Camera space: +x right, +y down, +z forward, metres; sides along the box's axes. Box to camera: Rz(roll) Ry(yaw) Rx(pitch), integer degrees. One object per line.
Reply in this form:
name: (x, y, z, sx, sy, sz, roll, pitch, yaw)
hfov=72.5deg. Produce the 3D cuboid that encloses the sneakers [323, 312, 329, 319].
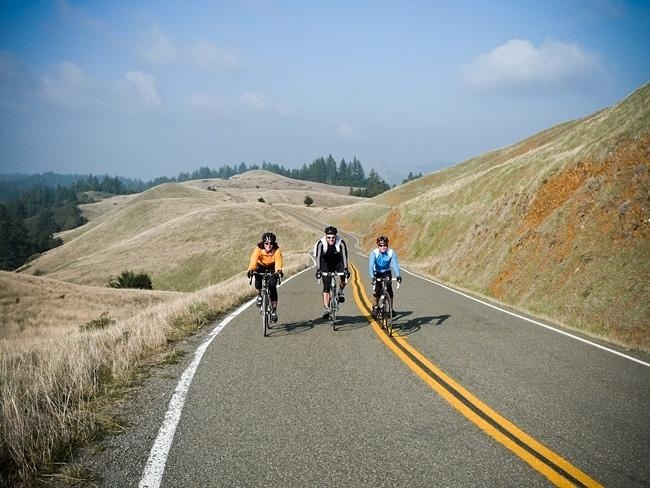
sneakers: (0.036, 1.708, 10.577, 0.097, 0.190, 0.167, 2, -10, -8)

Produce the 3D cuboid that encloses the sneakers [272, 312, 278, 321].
sneakers: (-1.172, 1.708, 10.290, 0.074, 0.231, 0.219, 1, 9, 4)

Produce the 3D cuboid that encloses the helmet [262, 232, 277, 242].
helmet: (-1.309, -0.139, 10.425, 0.228, 0.352, 0.333, 5, 11, 8)

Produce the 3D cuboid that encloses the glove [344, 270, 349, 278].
glove: (0.518, 0.705, 10.403, 0.100, 0.163, 0.043, 8, -6, -42)

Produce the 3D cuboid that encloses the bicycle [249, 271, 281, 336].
bicycle: (-1.313, 1.390, 10.292, 0.689, 1.388, 1.326, -2, 10, -15)

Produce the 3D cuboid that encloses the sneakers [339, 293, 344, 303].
sneakers: (0.397, 1.326, 10.744, 0.120, 0.199, 0.190, 1, -19, 0)
